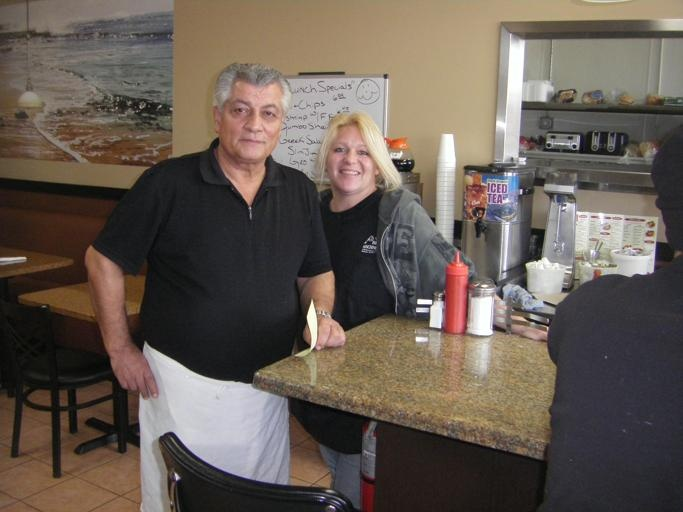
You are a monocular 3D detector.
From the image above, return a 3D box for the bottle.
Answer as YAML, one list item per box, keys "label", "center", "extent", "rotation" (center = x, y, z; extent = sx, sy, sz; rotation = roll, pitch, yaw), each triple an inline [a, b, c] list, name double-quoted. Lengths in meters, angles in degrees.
- label: "bottle"
  center: [0.441, 0.159, 1.966]
  extent: [0.311, 0.341, 0.200]
  rotation: [0, 5, 6]

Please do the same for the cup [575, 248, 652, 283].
- label: "cup"
  center: [1.369, 0.044, 2.700]
  extent: [0.231, 0.172, 0.173]
  rotation: [-4, 9, -5]

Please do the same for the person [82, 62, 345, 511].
- label: "person"
  center: [-0.445, 0.139, 2.053]
  extent: [0.919, 1.682, 0.440]
  rotation: [2, 11, 0]

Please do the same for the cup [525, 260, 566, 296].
- label: "cup"
  center: [1.155, 0.131, 3.072]
  extent: [0.220, 0.170, 0.170]
  rotation: [0, 4, -11]
